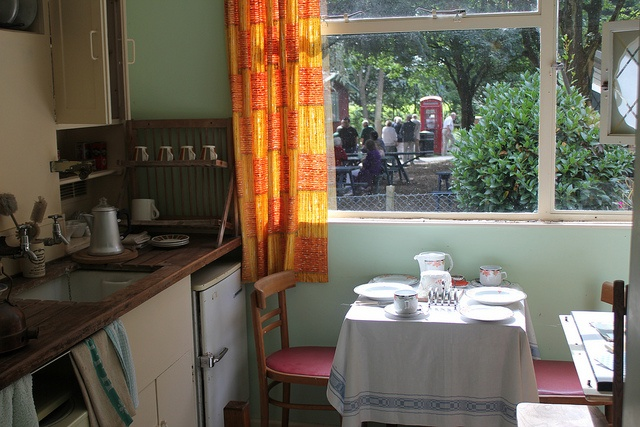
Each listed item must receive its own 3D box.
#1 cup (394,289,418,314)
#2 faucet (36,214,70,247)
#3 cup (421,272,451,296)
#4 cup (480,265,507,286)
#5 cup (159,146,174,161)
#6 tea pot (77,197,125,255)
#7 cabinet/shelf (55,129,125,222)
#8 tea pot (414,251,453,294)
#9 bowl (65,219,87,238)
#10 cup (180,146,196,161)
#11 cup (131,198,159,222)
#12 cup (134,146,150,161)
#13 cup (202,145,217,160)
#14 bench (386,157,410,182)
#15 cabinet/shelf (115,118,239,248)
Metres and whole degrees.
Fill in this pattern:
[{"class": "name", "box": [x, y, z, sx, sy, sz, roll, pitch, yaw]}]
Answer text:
[{"class": "cup", "box": [0.425, 0.435, 2.480, 0.085, 0.080, 0.115, -1, 2, 7]}, {"class": "faucet", "box": [-1.290, 0.081, 2.416, 0.229, 0.145, 0.073, -1, 8, 28]}, {"class": "cup", "box": [0.613, 0.362, 2.667, 0.128, 0.095, 0.118, 0, -3, 0]}, {"class": "cup", "box": [0.960, 0.346, 2.800, 0.130, 0.103, 0.103, 1, 1, 10]}, {"class": "cup", "box": [-0.915, -0.363, 3.073, 0.062, 0.101, 0.102, 1, 3, 0]}, {"class": "tea pot", "box": [-1.124, 0.065, 2.682, 0.153, 0.291, 0.245, 2, 6, 41]}, {"class": "cabinet/shelf", "box": [-1.342, -0.236, 2.946, 0.515, 0.510, 0.172, -2, -3, -12]}, {"class": "tea pot", "box": [0.630, 0.323, 2.809, 0.220, 0.230, 0.148, -5, 8, -5]}, {"class": "bowl", "box": [-1.372, 0.082, 2.853, 0.081, 0.067, 0.111, 3, 14, 5]}, {"class": "cup", "box": [-0.784, -0.353, 2.999, 0.097, 0.106, 0.064, 1, 4, 13]}, {"class": "cup", "box": [-1.057, -0.021, 3.037, 0.163, 0.125, 0.095, -4, 11, -9]}, {"class": "cup", "box": [-1.085, -0.365, 3.070, 0.075, 0.082, 0.089, -5, 12, -12]}, {"class": "cup", "box": [-0.648, -0.365, 3.024, 0.083, 0.087, 0.084, 3, 2, 0]}, {"class": "bench", "box": [0.462, -0.271, 3.166, 0.132, 0.199, 0.147, -3, 1, -24]}, {"class": "cabinet/shelf", "box": [-0.863, -0.204, 3.086, 0.706, 0.757, 0.312, 1, 14, 7]}]
